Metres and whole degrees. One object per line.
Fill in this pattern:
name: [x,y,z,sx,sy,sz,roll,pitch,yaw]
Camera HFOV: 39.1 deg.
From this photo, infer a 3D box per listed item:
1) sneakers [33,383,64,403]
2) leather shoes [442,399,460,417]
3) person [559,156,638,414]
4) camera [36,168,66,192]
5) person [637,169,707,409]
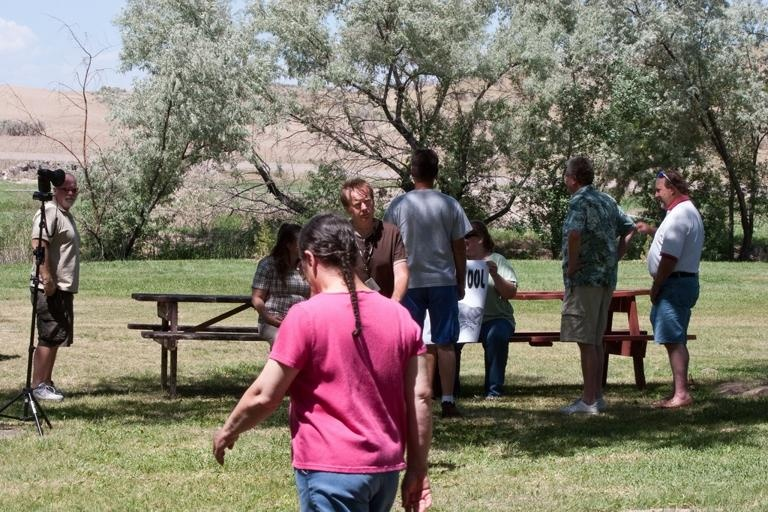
sneakers: [-5.302,2.215,17.403,0.569,0.250,0.204,6,1,6]
leather shoes: [1.028,2.402,16.961,0.220,0.208,0.270,-1,-4,5]
person: [3.291,0.454,17.028,1.075,4.042,0.518,1,-1,-23]
camera: [-5.231,-1.208,17.116,0.227,0.351,0.600,5,0,13]
person: [4.573,0.520,17.083,0.816,3.735,0.445,0,-1,14]
